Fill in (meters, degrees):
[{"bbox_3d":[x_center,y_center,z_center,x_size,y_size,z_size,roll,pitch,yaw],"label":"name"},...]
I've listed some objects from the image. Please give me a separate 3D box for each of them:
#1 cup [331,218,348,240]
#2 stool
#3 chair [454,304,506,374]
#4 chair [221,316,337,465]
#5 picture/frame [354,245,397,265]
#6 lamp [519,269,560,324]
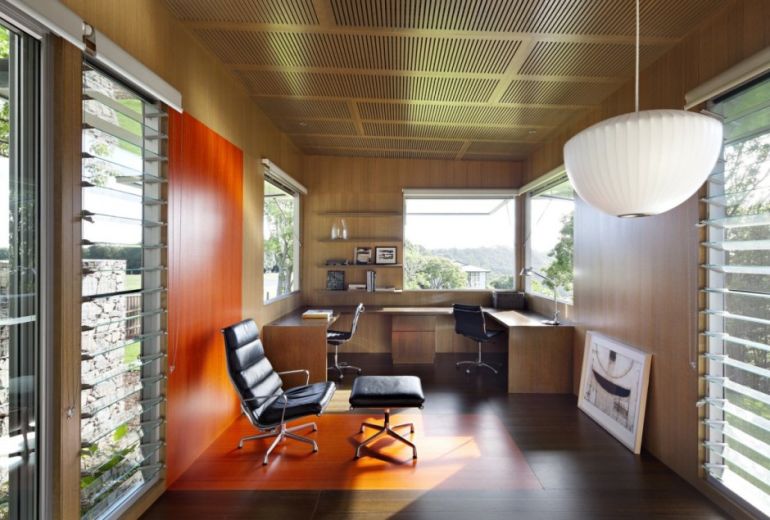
[{"bbox_3d":[-0.643,-0.461,7.487,0.238,0.278,0.199,0,9,-4],"label":"cup"},{"bbox_3d":[0.018,1.435,4.900,0.674,0.564,0.643,0,-4,0],"label":"stool"},{"bbox_3d":[1.236,0.999,6.727,0.612,0.826,0.558,1,0,-32],"label":"chair"},{"bbox_3d":[-1.110,1.155,5.193,1.112,1.414,1.111,-1,0,6],"label":"chair"},{"bbox_3d":[-0.124,-0.099,7.538,0.630,0.237,0.109,1,9,2],"label":"picture/frame"},{"bbox_3d":[2.035,0.437,6.578,0.635,0.899,0.374,0,-5,12],"label":"lamp"}]
